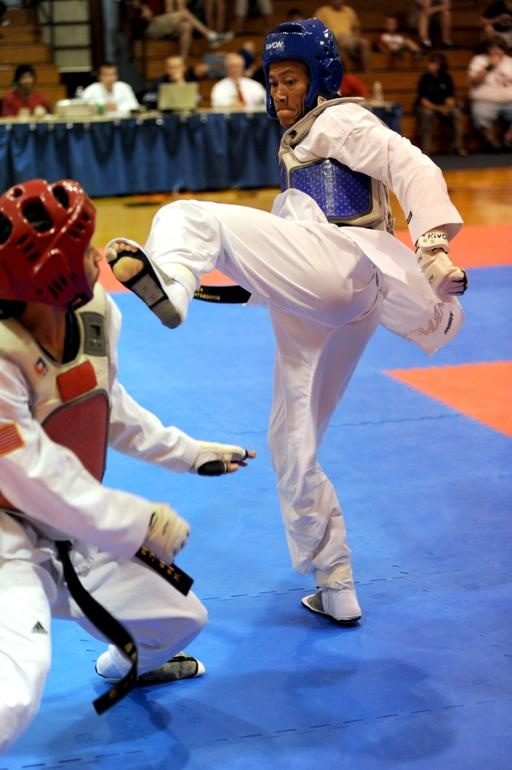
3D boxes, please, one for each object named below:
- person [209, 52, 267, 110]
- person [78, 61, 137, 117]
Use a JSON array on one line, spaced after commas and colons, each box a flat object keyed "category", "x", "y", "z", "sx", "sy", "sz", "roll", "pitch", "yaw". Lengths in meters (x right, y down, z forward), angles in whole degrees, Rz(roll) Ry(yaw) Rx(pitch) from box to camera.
[{"category": "person", "x": -0.216, "y": -3.929, "z": 9.941, "sx": 0.774, "sy": 0.884, "sz": 0.545, "roll": -11, "pitch": 5, "yaw": -2}, {"category": "person", "x": -1.858, "y": -3.718, "z": 9.498, "sx": 0.562, "sy": 0.418, "sz": 0.830, "roll": -7, "pitch": 27, "yaw": -9}]
